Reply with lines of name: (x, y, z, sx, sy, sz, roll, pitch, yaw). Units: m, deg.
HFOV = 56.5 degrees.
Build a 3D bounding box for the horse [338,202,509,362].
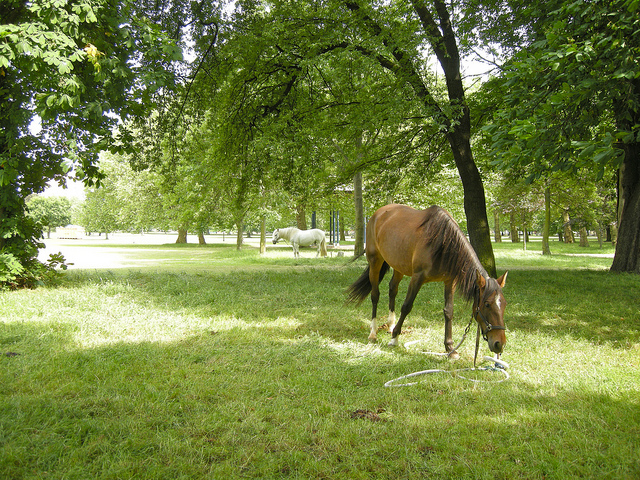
horse: (2.137, 0.793, 12.712, 1.932, 3.089, 4.414, -2, 12, -19)
